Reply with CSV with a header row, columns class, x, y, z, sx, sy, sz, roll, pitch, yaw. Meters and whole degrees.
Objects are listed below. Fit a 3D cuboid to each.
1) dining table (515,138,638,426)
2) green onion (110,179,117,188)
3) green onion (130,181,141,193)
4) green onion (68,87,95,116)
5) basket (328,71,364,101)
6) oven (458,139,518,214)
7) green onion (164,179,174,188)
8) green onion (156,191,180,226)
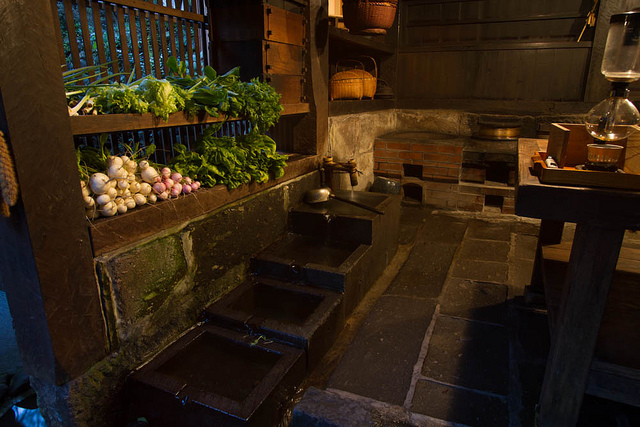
class,x,y,z,sx,sy,sz,roll,pitch,yaw
dining table,1.556,0.435,2.781,0.644,1.761,1.083,6,23,23
green onion,-1.353,-0.190,2.810,0.040,0.040,0.041,21,60,-4
green onion,-1.275,-0.174,2.978,0.065,0.090,0.064,2,24,-40
green onion,-1.494,-0.684,2.703,0.078,0.061,0.271,13,46,-10
basket,0.374,-1.692,5.720,0.613,0.409,0.561,-7,16,-15
oven,2.270,-0.453,5.817,0.545,0.766,0.785,8,23,25
green onion,-1.091,-0.213,3.125,0.047,0.067,0.049,-18,25,24
green onion,-1.099,-0.026,3.071,0.110,0.228,0.081,-10,9,0
